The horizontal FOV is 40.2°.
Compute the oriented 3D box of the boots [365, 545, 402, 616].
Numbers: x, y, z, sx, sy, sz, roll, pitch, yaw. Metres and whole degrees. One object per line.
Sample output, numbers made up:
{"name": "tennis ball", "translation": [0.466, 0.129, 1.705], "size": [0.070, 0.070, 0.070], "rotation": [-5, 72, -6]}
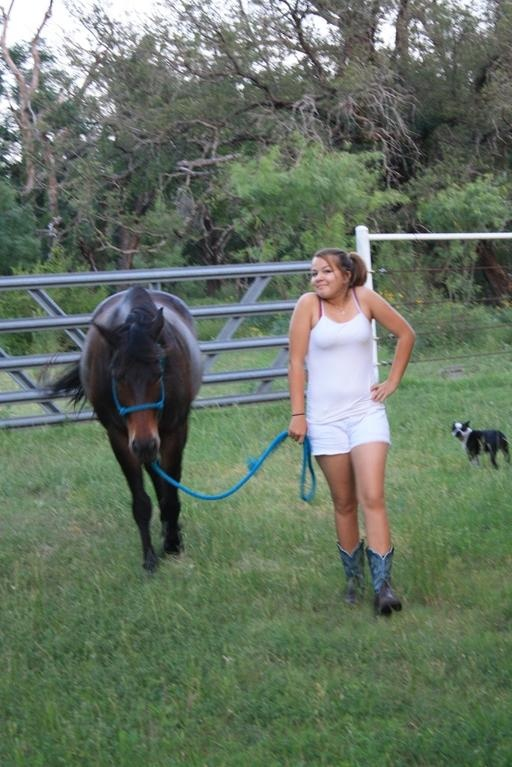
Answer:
{"name": "boots", "translation": [0.529, 0.806, 2.897], "size": [0.130, 0.256, 0.174], "rotation": [-3, 4, -5]}

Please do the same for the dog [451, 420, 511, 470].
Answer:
{"name": "dog", "translation": [1.546, 0.414, 4.794], "size": [0.238, 0.256, 0.596], "rotation": [-2, 4, -1]}

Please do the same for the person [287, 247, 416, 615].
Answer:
{"name": "person", "translation": [0.413, 0.176, 3.037], "size": [0.532, 1.521, 0.499], "rotation": [-1, 4, 12]}

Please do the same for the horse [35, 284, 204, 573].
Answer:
{"name": "horse", "translation": [-0.851, 0.210, 4.545], "size": [1.001, 1.602, 2.656], "rotation": [-4, 10, -15]}
